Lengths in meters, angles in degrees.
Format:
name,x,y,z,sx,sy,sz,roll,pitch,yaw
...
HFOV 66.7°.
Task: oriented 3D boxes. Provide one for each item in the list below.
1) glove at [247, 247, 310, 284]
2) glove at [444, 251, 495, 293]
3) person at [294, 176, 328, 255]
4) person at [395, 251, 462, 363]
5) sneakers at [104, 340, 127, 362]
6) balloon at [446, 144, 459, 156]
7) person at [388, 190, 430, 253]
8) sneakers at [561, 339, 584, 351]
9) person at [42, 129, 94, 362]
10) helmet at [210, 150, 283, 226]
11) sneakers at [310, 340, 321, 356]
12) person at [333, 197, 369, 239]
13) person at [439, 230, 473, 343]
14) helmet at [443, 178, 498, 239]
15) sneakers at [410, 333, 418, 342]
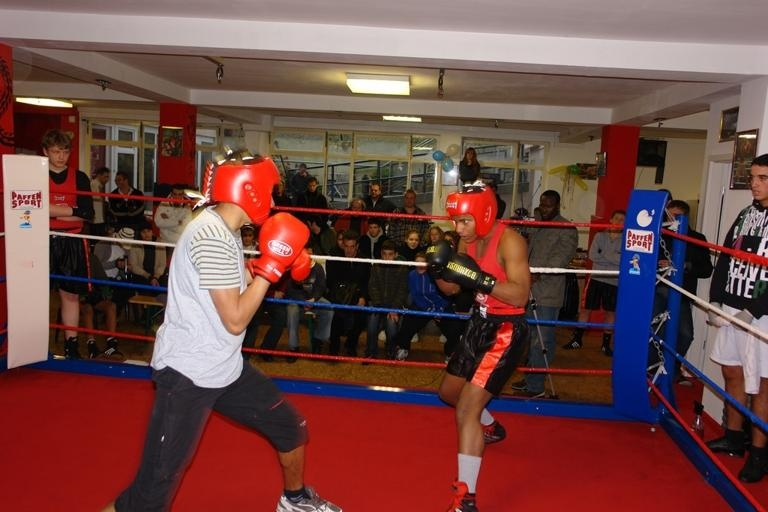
name,x,y,z,sx,sy,sz,roll,pitch,yaw
glove,-0.555,0.074,3.118,0.258,0.118,0.193,-11,-7,0
glove,0.488,0.095,3.423,0.294,0.187,0.106,24,-15,3
person,-1.250,-0.573,9.650,0.537,1.473,0.459,8,26,-4
person,0.472,0.509,5.704,0.666,0.991,0.679,23,8,-3
sneakers,-2.528,0.896,5.464,0.121,0.223,0.239,11,-21,-36
balloon,1.238,-1.956,10.770,0.238,0.176,0.179,-32,-26,-19
person,0.334,-0.271,8.173,0.592,1.349,0.449,2,-3,-3
sneakers,2.174,1.030,6.735,0.237,0.155,0.089,-1,2,5
person,-2.539,-0.071,4.735,0.333,1.845,0.493,-3,9,-29
helmet,-0.779,-0.338,3.085,0.389,0.325,0.286,6,-5,-20
sneakers,-0.694,0.909,5.886,0.092,0.167,0.175,4,-10,-11
person,-0.498,-0.500,9.403,0.580,1.032,0.358,3,25,0
person,0.737,0.263,5.754,0.319,0.955,0.992,-1,-9,9
helmet,0.549,-0.285,3.612,0.328,0.300,0.245,-16,19,-31
sneakers,0.300,0.826,5.964,0.101,0.098,0.184,1,3,7
